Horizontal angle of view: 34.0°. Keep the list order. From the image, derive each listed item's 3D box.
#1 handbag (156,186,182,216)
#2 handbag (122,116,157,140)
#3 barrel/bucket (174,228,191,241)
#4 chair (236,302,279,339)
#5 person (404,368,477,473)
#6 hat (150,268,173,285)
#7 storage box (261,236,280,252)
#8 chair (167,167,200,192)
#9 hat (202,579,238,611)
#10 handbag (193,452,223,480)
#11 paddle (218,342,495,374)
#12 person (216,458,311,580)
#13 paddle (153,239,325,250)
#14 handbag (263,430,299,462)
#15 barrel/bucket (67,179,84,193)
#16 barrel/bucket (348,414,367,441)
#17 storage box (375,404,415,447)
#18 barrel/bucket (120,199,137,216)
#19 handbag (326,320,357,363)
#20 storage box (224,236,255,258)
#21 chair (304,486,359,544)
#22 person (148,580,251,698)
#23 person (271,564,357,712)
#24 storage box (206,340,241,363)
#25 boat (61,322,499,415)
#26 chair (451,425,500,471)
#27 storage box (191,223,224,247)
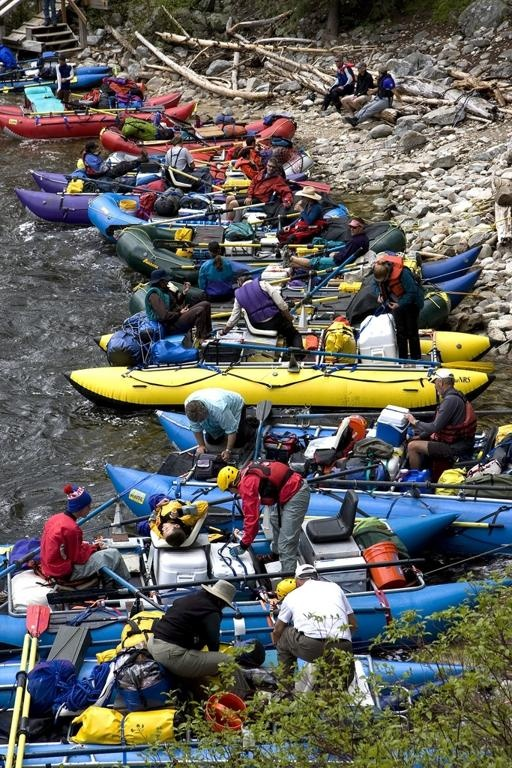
[{"bbox_3d":[-1.497,-3.038,14.184,0.330,0.227,0.559,2,26,-1],"label":"handbag"},{"bbox_3d":[-2.699,-5.791,19.119,0.721,0.460,0.274,12,-14,-31],"label":"handbag"},{"bbox_3d":[-1.117,-2.323,12.991,0.239,0.203,0.080,7,-9,13],"label":"barrel/bucket"},{"bbox_3d":[-0.017,-0.729,10.110,0.416,0.349,0.435,-1,-5,16],"label":"chair"},{"bbox_3d":[1.683,0.442,7.795,0.736,1.133,0.533,-1,15,14],"label":"person"},{"bbox_3d":[-1.255,-1.372,10.738,0.187,0.179,0.317,-3,11,-13],"label":"hat"},{"bbox_3d":[0.215,-2.176,12.996,0.317,0.085,0.279,2,36,8],"label":"storage box"},{"bbox_3d":[-1.331,-3.728,15.291,0.614,0.354,0.373,-2,52,-6],"label":"chair"},{"bbox_3d":[-0.166,1.218,4.867,0.203,0.073,0.186,34,-9,-14],"label":"hat"},{"bbox_3d":[-0.434,0.741,7.528,0.216,0.102,0.251,-2,27,4],"label":"handbag"},{"bbox_3d":[1.026,-0.301,9.760,1.682,0.204,0.447,0,25,5],"label":"paddle"},{"bbox_3d":[0.064,1.019,6.333,0.704,0.917,0.522,-14,23,-19],"label":"person"},{"bbox_3d":[-0.276,-2.083,12.754,2.575,0.199,0.779,0,11,4],"label":"paddle"},{"bbox_3d":[0.218,0.577,7.695,0.268,0.117,0.331,4,5,1],"label":"handbag"},{"bbox_3d":[-3.404,-3.712,15.719,0.328,0.111,0.316,1,37,-1],"label":"barrel/bucket"},{"bbox_3d":[0.938,0.413,7.869,0.138,0.224,0.126,-2,47,2],"label":"barrel/bucket"},{"bbox_3d":[1.262,0.396,7.982,0.422,0.357,0.308,15,27,-9],"label":"storage box"},{"bbox_3d":[-2.197,-3.065,14.505,0.308,0.270,0.274,4,33,1],"label":"barrel/bucket"},{"bbox_3d":[1.054,-0.519,9.818,0.478,0.551,0.809,-1,10,4],"label":"handbag"},{"bbox_3d":[-0.284,-2.057,12.846,0.413,0.293,0.125,15,51,-20],"label":"storage box"},{"bbox_3d":[0.580,0.924,6.301,0.471,0.409,0.355,-6,26,-3],"label":"chair"},{"bbox_3d":[-0.296,1.544,4.909,0.597,0.715,0.475,4,0,-44],"label":"person"},{"bbox_3d":[0.346,1.487,4.801,0.447,0.737,0.672,-3,12,-8],"label":"person"},{"bbox_3d":[-0.399,-0.389,9.957,0.394,0.154,0.265,2,16,6],"label":"storage box"},{"bbox_3d":[0.343,-0.083,9.787,5.052,0.622,1.577,0,29,6],"label":"boat"},{"bbox_3d":[2.096,0.599,7.696,0.477,0.164,0.314,-24,27,27],"label":"chair"},{"bbox_3d":[-0.760,-2.266,12.818,0.611,0.188,0.731,-1,26,-1],"label":"storage box"}]
